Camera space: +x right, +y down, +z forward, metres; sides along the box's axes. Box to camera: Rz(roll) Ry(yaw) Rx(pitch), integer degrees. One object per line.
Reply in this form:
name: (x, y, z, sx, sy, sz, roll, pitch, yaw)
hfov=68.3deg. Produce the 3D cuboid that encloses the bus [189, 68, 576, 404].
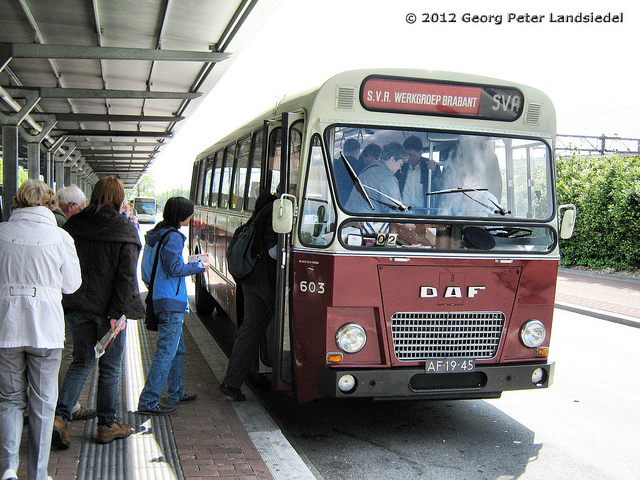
bus: (1.094, -0.034, 5.181, 3.096, 3.646, 0.775, 2, 3, -14)

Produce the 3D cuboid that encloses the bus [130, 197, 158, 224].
bus: (-25.030, -4.174, 67.152, 2.841, 3.764, 4.177, 1, 4, -23)

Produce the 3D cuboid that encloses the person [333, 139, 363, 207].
person: (0.292, -0.749, 4.950, 0.228, 0.803, 0.192, 6, -14, -11)

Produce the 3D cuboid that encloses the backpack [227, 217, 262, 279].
backpack: (-0.947, 0.087, 5.873, 0.391, 0.806, 0.506, 11, 0, -28)
